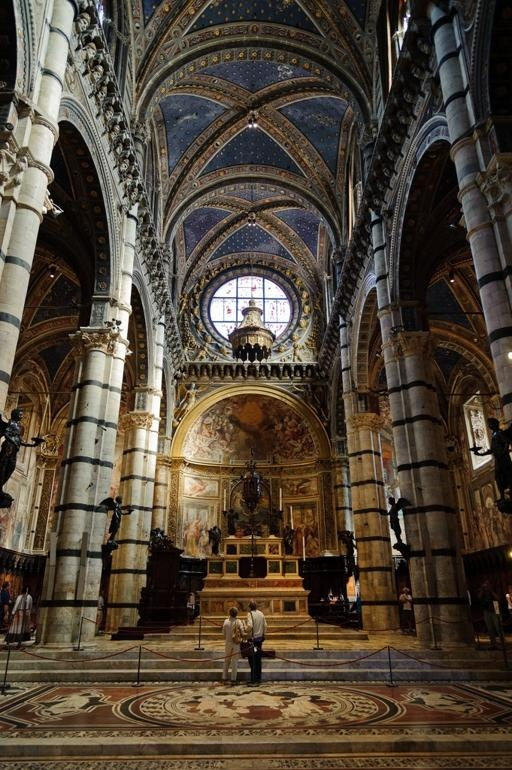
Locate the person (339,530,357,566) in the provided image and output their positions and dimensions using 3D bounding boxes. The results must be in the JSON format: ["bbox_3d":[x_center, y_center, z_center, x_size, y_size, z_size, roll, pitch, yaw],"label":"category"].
[{"bbox_3d":[3.394,6.065,18.949,0.501,1.266,1.610,-4,-22,9],"label":"person"}]

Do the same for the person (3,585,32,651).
[{"bbox_3d":[-5.301,5.175,11.431,0.474,1.168,3.144,9,-24,-22],"label":"person"}]
